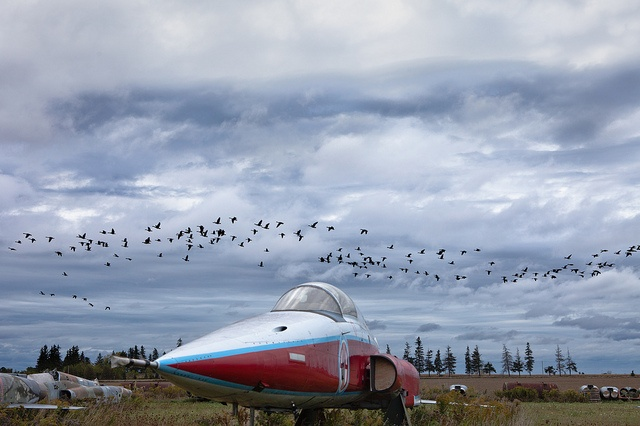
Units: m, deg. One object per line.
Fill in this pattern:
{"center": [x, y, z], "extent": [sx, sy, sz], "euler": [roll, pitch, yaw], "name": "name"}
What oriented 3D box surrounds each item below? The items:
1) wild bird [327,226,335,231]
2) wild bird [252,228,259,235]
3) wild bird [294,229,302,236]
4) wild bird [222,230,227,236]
{"center": [0.546, 0.821, 32.408], "extent": [0.358, 0.299, 0.129], "euler": [-1, 1, 9], "name": "wild bird"}
{"center": [-2.600, 0.758, 25.650], "extent": [0.198, 0.074, 0.203], "euler": [-28, -27, 34], "name": "wild bird"}
{"center": [-1.036, 0.981, 30.777], "extent": [0.363, 0.330, 0.140], "euler": [5, -24, -23], "name": "wild bird"}
{"center": [-5.992, 1.240, 39.540], "extent": [0.120, 0.408, 0.439], "euler": [7, 3, 40], "name": "wild bird"}
